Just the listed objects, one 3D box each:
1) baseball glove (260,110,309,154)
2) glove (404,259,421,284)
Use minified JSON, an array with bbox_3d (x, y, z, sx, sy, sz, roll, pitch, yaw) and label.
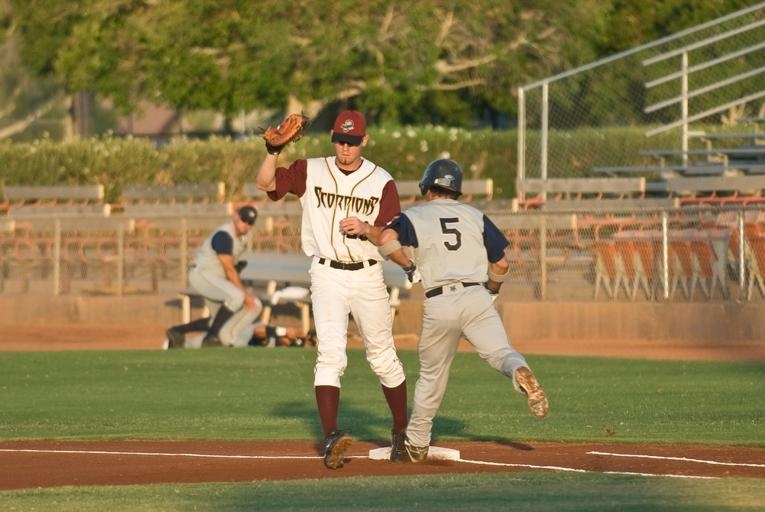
[{"bbox_3d":[-1.729,-2.232,36.859,0.783,0.607,0.279,-42,-34,5],"label":"baseball glove"},{"bbox_3d":[0.548,0.361,37.131,0.164,0.201,0.485,-8,-50,7],"label":"glove"}]
